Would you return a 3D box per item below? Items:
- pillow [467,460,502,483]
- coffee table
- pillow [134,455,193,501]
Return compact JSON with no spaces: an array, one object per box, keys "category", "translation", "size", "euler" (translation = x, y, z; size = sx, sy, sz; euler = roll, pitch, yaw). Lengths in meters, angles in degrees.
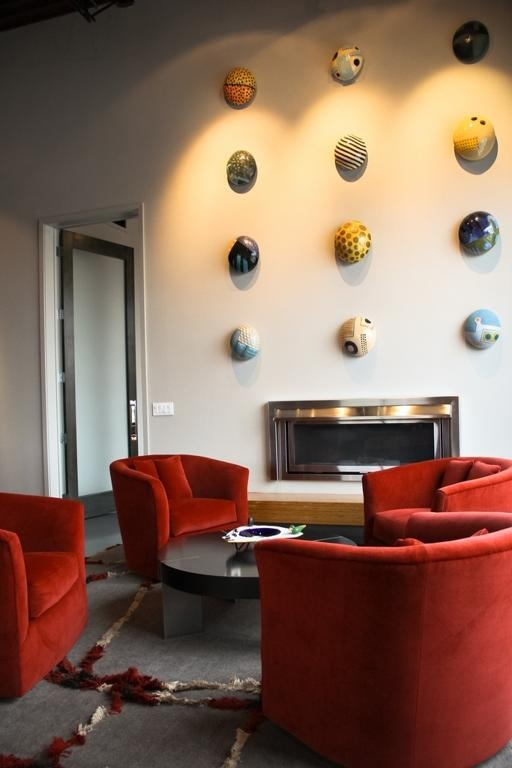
[{"category":"pillow","translation":[1.103,0.428,3.007],"size":[0.158,0.096,0.465],"euler":[-3,-1,16]},{"category":"coffee table","translation":[-0.203,0.850,2.760],"size":[0.569,0.214,0.560],"euler":[-12,-16,-18]},{"category":"pillow","translation":[-0.565,0.599,3.838],"size":[0.085,0.263,0.288],"euler":[-34,-20,33]}]
